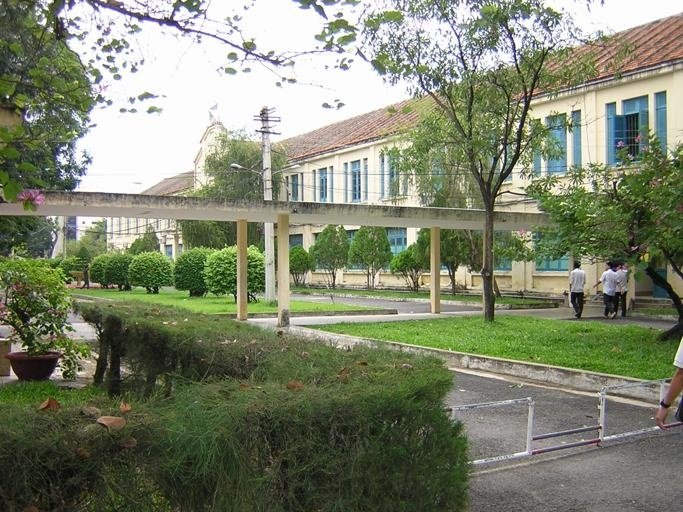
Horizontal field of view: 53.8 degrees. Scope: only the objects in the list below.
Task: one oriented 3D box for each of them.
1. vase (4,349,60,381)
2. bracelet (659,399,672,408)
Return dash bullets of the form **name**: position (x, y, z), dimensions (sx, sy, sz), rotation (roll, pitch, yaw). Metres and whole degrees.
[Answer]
- **vase**: position (-4.956, 1.754, 10.813), dimensions (0.537, 0.336, 0.574), rotation (2, -12, -5)
- **bracelet**: position (3.280, 1.499, 6.800), dimensions (0.114, 0.047, 0.109), rotation (1, 0, 14)
